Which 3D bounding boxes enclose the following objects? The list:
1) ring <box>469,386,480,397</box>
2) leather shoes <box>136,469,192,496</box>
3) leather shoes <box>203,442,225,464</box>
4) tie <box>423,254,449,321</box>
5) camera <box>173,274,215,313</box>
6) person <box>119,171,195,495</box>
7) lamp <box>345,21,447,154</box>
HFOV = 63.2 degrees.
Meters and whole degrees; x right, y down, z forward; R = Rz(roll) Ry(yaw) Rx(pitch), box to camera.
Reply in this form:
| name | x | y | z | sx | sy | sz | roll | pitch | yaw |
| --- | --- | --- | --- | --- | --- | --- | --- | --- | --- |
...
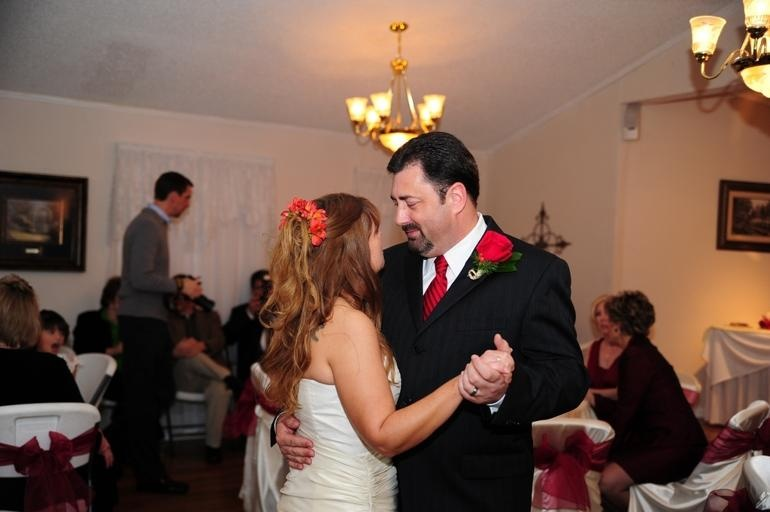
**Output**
| name | x | y | z | sx | sy | sz | roll | pitch | yaw |
| --- | --- | --- | --- | --- | --- | --- | --- | --- | --- |
| ring | 0.400 | 0.608 | 2.815 | 0.044 | 0.036 | 0.022 | 1 | -1 | 14 |
| leather shoes | -1.858 | 1.897 | 5.284 | 0.510 | 0.201 | 0.169 | 1 | -2 | -6 |
| leather shoes | -1.631 | 1.873 | 5.985 | 0.164 | 0.161 | 0.178 | 2 | -2 | -17 |
| tie | 0.262 | 0.162 | 3.219 | 0.087 | 0.388 | 0.056 | 35 | -26 | -25 |
| camera | -1.818 | 0.357 | 5.914 | 0.468 | 0.133 | 0.131 | 30 | -38 | 6 |
| person | -1.953 | 0.632 | 5.289 | 0.543 | 2.690 | 0.436 | 2 | -1 | -39 |
| lamp | 0.081 | -1.601 | 5.939 | 0.933 | 1.206 | 0.996 | 4 | 10 | 27 |
